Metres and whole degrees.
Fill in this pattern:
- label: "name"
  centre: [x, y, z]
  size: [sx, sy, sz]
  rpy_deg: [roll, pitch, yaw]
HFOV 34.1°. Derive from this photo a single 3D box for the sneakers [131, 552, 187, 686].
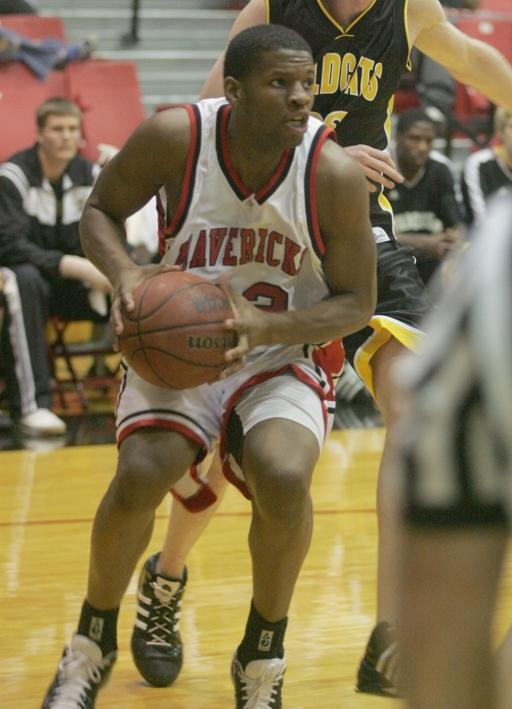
- label: "sneakers"
  centre: [-0.208, 0.564, 1.793]
  size: [0.099, 0.120, 0.269]
  rpy_deg: [6, 60, -14]
